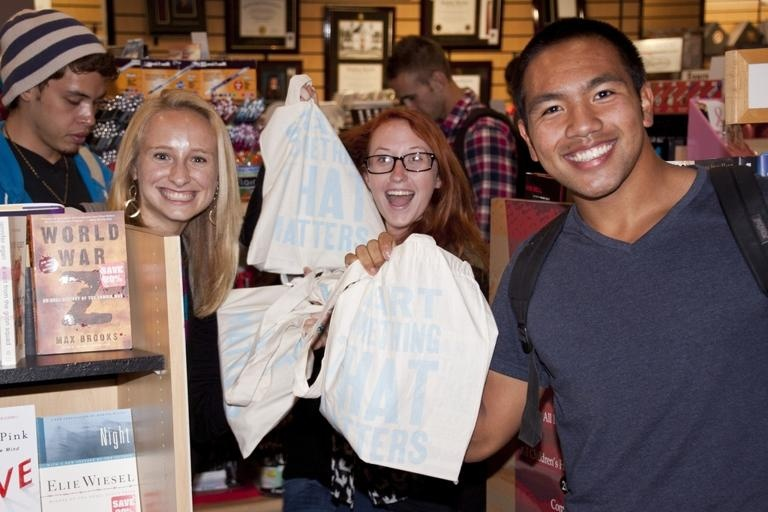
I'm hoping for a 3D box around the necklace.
[{"bbox_3d":[-1.822,-0.461,3.518,0.157,0.375,0.331,-15,14,30],"label":"necklace"}]

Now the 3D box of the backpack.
[{"bbox_3d":[-0.371,0.441,2.581,0.550,0.646,0.191,-18,-25,33],"label":"backpack"}]

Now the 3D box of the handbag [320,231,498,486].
[{"bbox_3d":[0.085,0.352,2.259,0.600,0.842,0.260,9,5,18],"label":"handbag"}]
